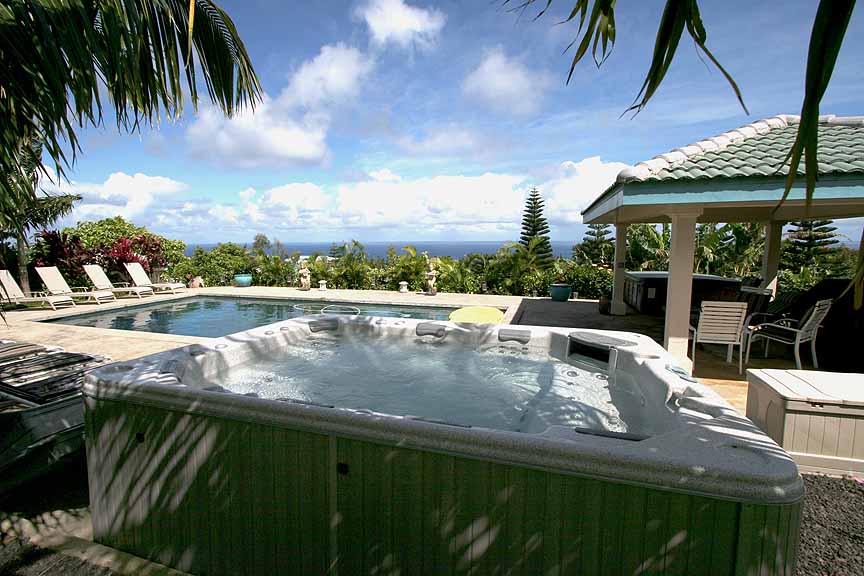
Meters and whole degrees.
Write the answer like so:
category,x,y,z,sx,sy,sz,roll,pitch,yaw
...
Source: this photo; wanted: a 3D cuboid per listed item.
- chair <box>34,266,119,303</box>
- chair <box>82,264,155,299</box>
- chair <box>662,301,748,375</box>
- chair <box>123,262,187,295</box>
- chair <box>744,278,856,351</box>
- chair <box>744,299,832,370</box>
category,x,y,z,sx,sy,sz,roll,pitch,yaw
chair,-8.426,-0.042,11.415,1.619,0.863,0.681,-3,0,8
chair,-8.252,-0.145,12.651,1.474,0.839,0.763,1,5,3
chair,3.476,0.585,5.943,0.721,0.904,0.615,13,-7,-43
chair,-7.833,-0.272,13.526,1.122,0.683,0.810,1,5,-2
chair,4.650,0.512,6.336,0.601,0.693,0.854,-11,8,-33
chair,4.631,0.597,6.336,0.680,0.857,0.832,-4,6,-44
